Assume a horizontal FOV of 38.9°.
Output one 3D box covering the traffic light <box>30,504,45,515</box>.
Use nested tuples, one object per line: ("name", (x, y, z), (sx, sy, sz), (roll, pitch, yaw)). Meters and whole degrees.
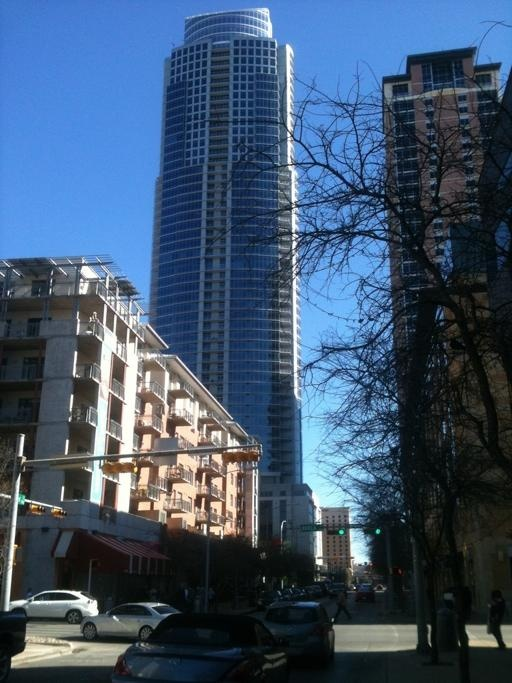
("traffic light", (-7.734, 5.861, 25.608), (0.429, 0.347, 1.817), (5, -18, -16))

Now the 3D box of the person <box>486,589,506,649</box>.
("person", (6.332, 7.257, 19.089), (0.491, 1.374, 3.032), (-7, -19, 16))

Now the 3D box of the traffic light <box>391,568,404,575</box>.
("traffic light", (7.714, 12.547, 39.591), (0.681, 0.420, 0.987), (2, -17, 11))
